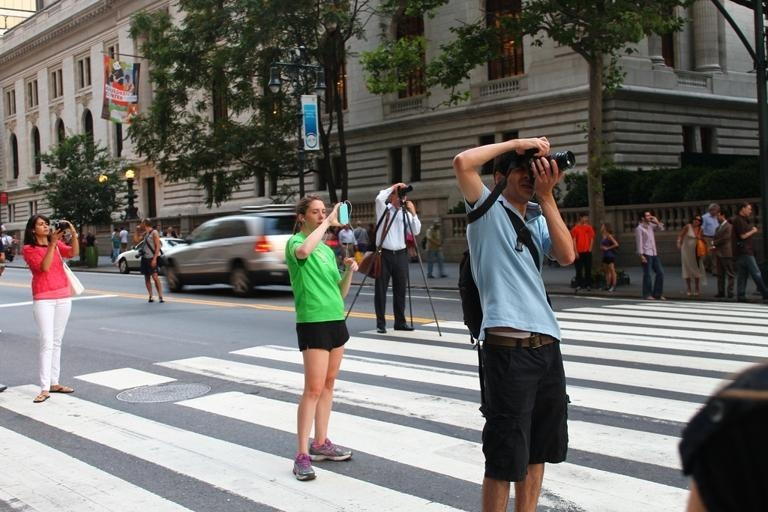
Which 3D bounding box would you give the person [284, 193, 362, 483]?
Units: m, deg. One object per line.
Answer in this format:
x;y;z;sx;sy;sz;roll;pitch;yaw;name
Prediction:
-0.732;0.818;8.243;0.498;2.925;0.788;0;2;44;person

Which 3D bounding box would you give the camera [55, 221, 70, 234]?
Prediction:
-4.561;-0.423;10.890;0.217;0.143;0.220;3;-5;10;camera

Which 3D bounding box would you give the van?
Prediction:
-3.969;-0.266;21.427;4.977;1.971;2.247;3;5;43;van

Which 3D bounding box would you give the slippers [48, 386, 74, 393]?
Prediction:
-4.474;1.835;10.673;0.313;0.088;0.123;0;-1;-2;slippers

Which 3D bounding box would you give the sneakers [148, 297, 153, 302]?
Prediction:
-5.914;1.107;19.528;0.072;0.087;0.203;1;3;-18;sneakers

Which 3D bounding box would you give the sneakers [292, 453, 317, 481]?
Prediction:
-0.834;2.165;7.975;0.252;0.265;0.168;-1;2;5;sneakers

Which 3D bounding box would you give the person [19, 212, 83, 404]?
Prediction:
-4.673;0.659;10.840;0.713;2.510;1.259;-2;2;-23;person

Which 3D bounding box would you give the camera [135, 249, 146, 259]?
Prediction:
-7.507;-0.080;23.677;0.330;0.356;0.264;-4;10;-39;camera

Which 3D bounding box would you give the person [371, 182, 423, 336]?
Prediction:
0.221;0.060;13.719;0.779;2.610;1.089;-1;2;0;person

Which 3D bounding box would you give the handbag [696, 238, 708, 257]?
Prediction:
8.174;-0.241;19.815;0.221;0.593;0.496;-3;-4;37;handbag

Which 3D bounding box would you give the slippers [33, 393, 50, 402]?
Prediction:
-4.609;1.877;10.342;0.197;0.100;0.259;-2;2;-16;slippers

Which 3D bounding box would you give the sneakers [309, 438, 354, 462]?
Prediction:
-0.587;2.116;8.448;0.538;0.274;0.194;1;0;-7;sneakers

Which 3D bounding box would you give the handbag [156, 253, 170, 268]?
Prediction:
-6.021;0.117;20.918;0.222;0.415;0.341;5;-8;14;handbag
